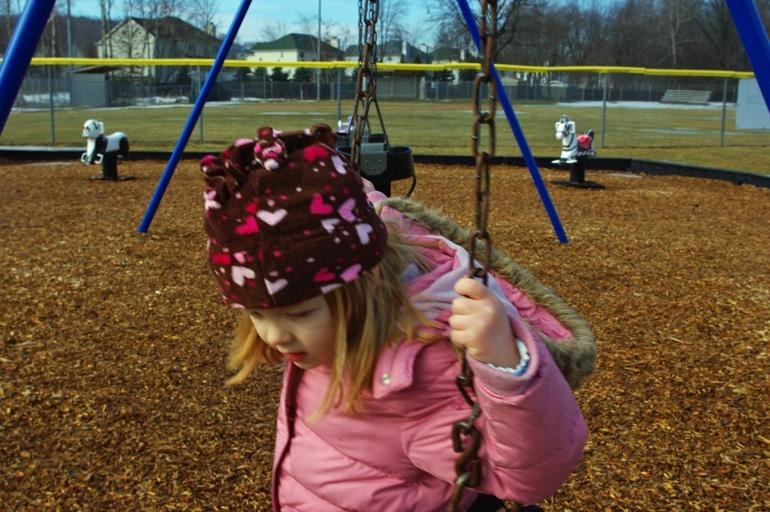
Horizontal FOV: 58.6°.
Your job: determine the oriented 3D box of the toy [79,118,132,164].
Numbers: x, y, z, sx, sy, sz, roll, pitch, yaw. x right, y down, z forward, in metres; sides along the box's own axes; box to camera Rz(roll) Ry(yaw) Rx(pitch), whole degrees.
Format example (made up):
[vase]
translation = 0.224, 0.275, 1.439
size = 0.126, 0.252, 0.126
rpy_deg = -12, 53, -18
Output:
[toy]
translation = -3.649, -1.476, 8.926
size = 0.541, 0.602, 0.774
rpy_deg = -5, 15, -22
